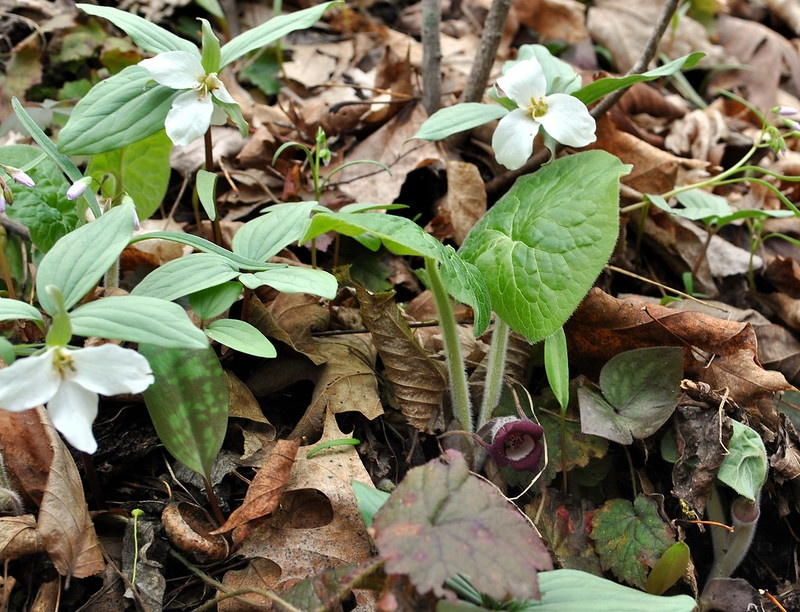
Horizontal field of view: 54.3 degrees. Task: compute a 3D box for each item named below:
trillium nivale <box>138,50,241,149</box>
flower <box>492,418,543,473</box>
[{"bbox_3d":[-0.750,-0.756,2.787,0.253,0.220,0.264,-21,54,-31],"label":"trillium nivale"},{"bbox_3d":[0.411,0.493,2.891,0.181,0.188,0.178,3,23,-7],"label":"flower"}]
